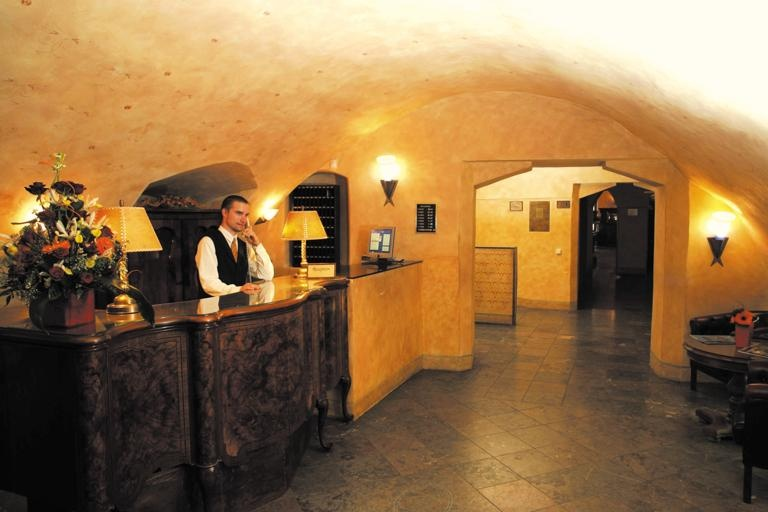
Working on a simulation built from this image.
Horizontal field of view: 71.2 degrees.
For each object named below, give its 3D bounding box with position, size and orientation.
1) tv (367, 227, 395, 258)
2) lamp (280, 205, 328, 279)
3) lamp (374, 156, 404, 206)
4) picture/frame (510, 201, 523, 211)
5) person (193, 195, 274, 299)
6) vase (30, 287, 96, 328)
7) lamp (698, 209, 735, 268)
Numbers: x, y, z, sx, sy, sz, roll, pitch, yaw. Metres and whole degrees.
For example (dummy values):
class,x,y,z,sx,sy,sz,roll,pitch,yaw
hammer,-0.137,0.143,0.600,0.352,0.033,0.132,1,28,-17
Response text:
class,x,y,z,sx,sy,sz,roll,pitch,yaw
tv,-0.039,-0.172,7.690,0.468,0.420,0.052,-4,-13,37
lamp,-0.877,-0.118,5.848,0.334,0.716,0.306,6,11,37
lamp,0.068,-1.092,7.937,0.358,0.722,0.178,-2,9,-3
picture/frame,3.128,-1.143,12.623,0.272,0.172,0.026,2,-1,31
person,-1.440,0.042,5.284,0.849,1.161,0.720,9,8,36
vase,-2.283,0.387,3.802,0.350,0.224,0.343,-1,1,32
lamp,4.412,-0.205,7.062,0.342,0.723,0.175,2,10,17
